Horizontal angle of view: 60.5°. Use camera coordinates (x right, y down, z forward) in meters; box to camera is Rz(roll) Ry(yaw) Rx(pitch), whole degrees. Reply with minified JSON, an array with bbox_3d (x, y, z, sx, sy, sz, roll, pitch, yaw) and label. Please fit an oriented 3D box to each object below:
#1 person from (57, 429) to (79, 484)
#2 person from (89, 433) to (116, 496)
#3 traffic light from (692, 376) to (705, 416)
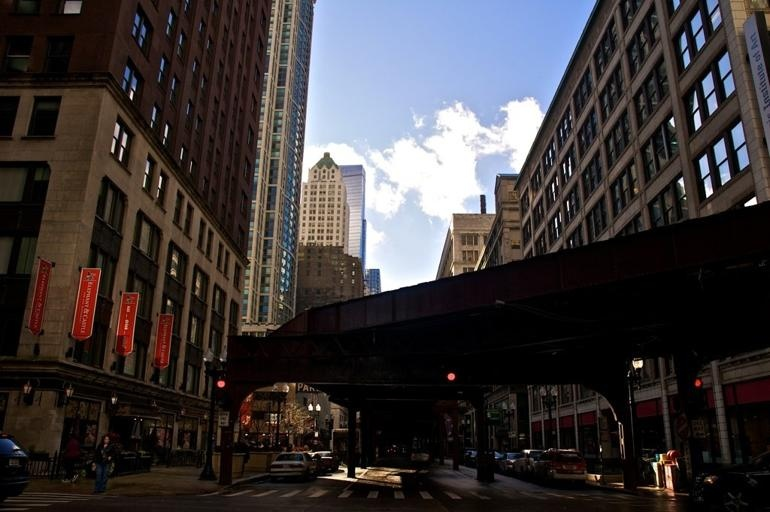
[{"bbox_3d":[-18.254,11.921,38.501,0.887,2.505,1.318,12,-26,-28],"label":"person"},{"bbox_3d":[-15.073,11.134,35.358,0.922,3.109,1.377,9,-24,-20],"label":"person"},{"bbox_3d":[17.749,7.918,37.436,0.780,2.190,0.651,-2,-23,5],"label":"traffic light"}]
